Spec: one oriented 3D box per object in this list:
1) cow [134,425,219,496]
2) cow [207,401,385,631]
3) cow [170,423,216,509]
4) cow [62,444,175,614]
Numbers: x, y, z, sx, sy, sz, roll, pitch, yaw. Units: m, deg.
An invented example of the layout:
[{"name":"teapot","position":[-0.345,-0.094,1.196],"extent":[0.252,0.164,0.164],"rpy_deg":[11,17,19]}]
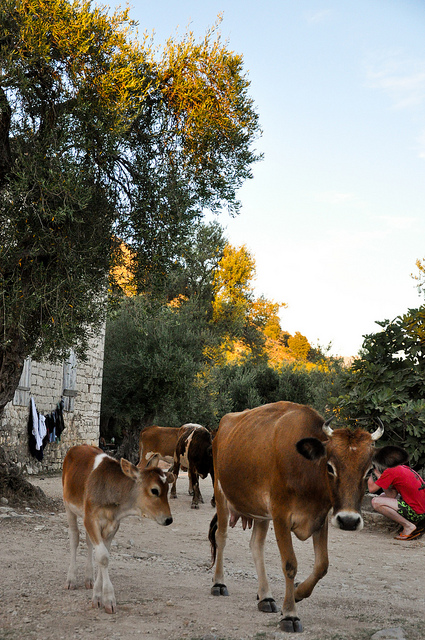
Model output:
[{"name":"cow","position":[-0.709,2.990,13.941],"extent":[2.247,1.372,0.598],"rpy_deg":[3,-8,23]},{"name":"cow","position":[0.564,1.507,5.199],"extent":[1.117,1.687,2.375],"rpy_deg":[4,-8,-1]},{"name":"cow","position":[-0.381,2.909,12.914],"extent":[0.677,1.471,2.738],"rpy_deg":[4,-12,-21]},{"name":"cow","position":[-0.844,1.718,5.286],"extent":[0.463,1.188,1.794],"rpy_deg":[6,-11,-35]}]
